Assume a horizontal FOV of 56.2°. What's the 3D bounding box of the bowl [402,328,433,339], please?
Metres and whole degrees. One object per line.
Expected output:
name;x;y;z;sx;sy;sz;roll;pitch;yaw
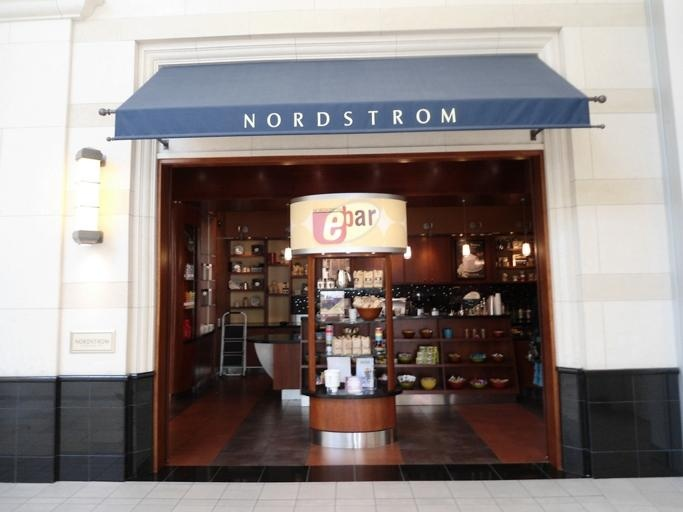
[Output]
bowl;1.121;1.132;9.380;0.325;0.090;0.189;3;-4;-8

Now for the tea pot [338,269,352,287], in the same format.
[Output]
tea pot;0.043;0.292;8.302;0.199;0.251;0.195;0;-9;0

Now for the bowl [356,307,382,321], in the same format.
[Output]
bowl;0.358;0.704;7.875;0.265;0.131;0.251;0;-9;0

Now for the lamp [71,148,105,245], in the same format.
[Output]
lamp;-2.559;-0.611;6.518;0.324;0.987;0.213;-2;2;-18

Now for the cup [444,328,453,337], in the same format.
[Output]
cup;1.566;1.121;9.381;0.126;0.120;0.124;-2;0;0

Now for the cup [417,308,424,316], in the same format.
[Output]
cup;1.199;0.855;9.733;0.103;0.104;0.102;0;0;0

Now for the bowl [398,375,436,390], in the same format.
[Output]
bowl;1.077;1.785;9.075;0.460;0.147;0.248;3;-7;-1
